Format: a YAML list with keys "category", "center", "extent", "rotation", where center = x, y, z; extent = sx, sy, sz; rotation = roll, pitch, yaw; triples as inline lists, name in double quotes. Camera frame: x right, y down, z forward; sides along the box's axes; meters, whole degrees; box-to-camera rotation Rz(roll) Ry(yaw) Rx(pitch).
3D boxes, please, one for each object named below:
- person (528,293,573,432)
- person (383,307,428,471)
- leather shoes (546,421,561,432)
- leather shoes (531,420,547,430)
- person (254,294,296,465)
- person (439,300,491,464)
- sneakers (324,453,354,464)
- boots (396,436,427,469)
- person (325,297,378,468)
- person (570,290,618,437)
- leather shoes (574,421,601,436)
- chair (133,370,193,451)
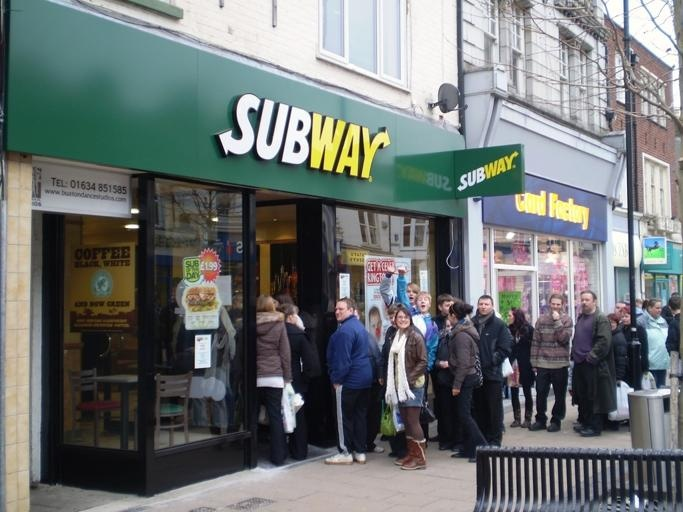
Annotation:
- category: "person"
  center: [3.375, 1.756, 11.577]
  extent: [0.599, 2.221, 0.312]
  rotation: [0, -1, 18]
- category: "person"
  center: [0.836, 1.733, 9.281]
  extent: [0.533, 2.124, 0.355]
  rotation: [0, -1, 4]
- category: "leather shoes"
  center: [3.426, 2.776, 11.523]
  extent: [0.202, 0.155, 0.149]
  rotation: [0, 0, 3]
- category: "leather shoes"
  center: [3.204, 2.803, 11.692]
  extent: [0.290, 0.134, 0.112]
  rotation: [1, -3, -8]
- category: "person"
  center: [-0.913, 1.665, 9.488]
  extent: [0.459, 2.234, 0.250]
  rotation: [0, -1, 1]
- category: "person"
  center: [1.648, 1.714, 9.781]
  extent: [0.583, 2.184, 0.917]
  rotation: [0, 0, 7]
- category: "sneakers"
  center: [-0.053, 2.742, 9.563]
  extent: [0.328, 0.152, 0.151]
  rotation: [3, -6, 8]
- category: "boots"
  center: [0.927, 2.623, 9.337]
  extent: [0.365, 0.434, 0.428]
  rotation: [3, -4, -17]
- category: "person"
  center: [0.095, 1.698, 9.569]
  extent: [0.613, 2.224, 0.373]
  rotation: [0, -1, -1]
- category: "person"
  center: [3.943, 1.713, 11.250]
  extent: [0.697, 2.276, 0.590]
  rotation: [0, -1, 35]
- category: "leather shoes"
  center: [3.854, 2.730, 11.155]
  extent: [0.273, 0.119, 0.163]
  rotation: [6, -4, -2]
- category: "chair"
  center: [-2.019, 1.847, 8.497]
  extent: [0.628, 1.103, 0.667]
  rotation: [2, -3, -43]
